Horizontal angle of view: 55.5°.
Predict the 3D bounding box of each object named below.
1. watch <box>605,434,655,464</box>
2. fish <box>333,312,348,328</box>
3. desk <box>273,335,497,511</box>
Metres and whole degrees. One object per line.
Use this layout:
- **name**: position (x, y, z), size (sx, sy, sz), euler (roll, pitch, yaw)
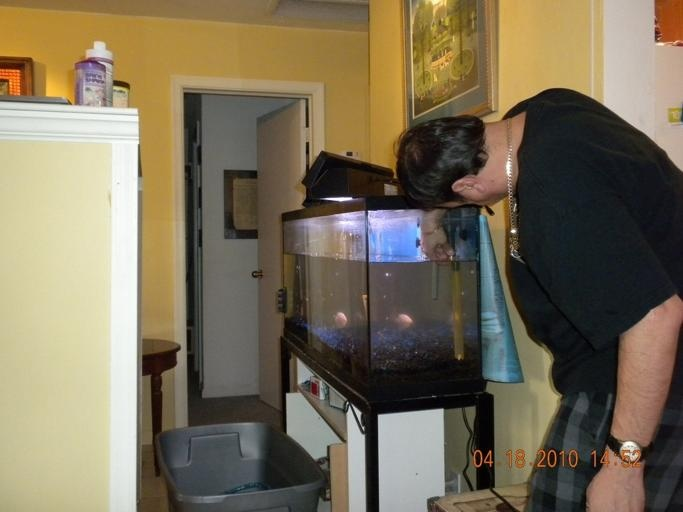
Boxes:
- **watch**: position (0.698, 0.472, 1.589), size (0.066, 0.035, 0.071), euler (4, -19, 38)
- **fish**: position (-0.005, 0.227, 2.353), size (0.001, 0.061, 0.148), euler (-3, 6, -19)
- **desk**: position (0.200, 0.411, 2.377), size (0.399, 0.521, 0.998), euler (1, 0, -15)
